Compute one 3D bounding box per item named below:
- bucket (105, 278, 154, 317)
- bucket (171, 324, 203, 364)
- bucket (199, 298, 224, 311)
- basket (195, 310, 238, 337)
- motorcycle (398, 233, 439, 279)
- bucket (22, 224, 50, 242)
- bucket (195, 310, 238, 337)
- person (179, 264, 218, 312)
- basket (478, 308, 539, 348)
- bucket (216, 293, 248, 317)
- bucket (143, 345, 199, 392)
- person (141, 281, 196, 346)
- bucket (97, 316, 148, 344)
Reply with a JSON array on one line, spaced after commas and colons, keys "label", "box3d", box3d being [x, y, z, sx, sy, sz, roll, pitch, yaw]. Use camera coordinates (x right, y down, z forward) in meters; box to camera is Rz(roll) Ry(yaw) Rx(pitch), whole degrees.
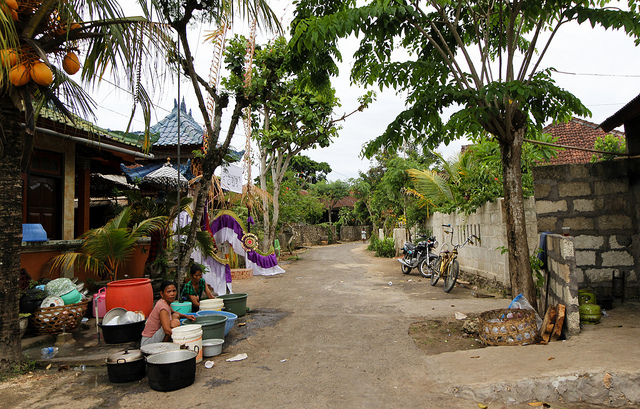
[{"label": "bucket", "box3d": [-3.975, 1.889, 9.329, 0.790, 0.809, 0.785, -2, -8, 0]}, {"label": "bucket", "box3d": [-2.334, 2.420, 8.046, 0.614, 0.597, 0.620, -3, 0, 0]}, {"label": "bucket", "box3d": [-2.306, 2.136, 9.507, 0.421, 0.258, 0.354, -2, 3, 16]}, {"label": "basket", "box3d": [-2.103, 2.322, 9.124, 0.611, 0.237, 0.618, -1, -1, 19]}, {"label": "motorcycle", "box3d": [3.506, 1.773, 16.177, 0.950, 1.596, 2.583, 15, -7, -16]}, {"label": "bucket", "box3d": [-6.562, 0.651, 10.247, 0.196, 0.421, 0.539, -2, 3, 12]}, {"label": "bucket", "box3d": [-2.063, 2.362, 9.124, 0.614, 0.240, 0.613, 0, 1, 0]}, {"label": "person", "box3d": [-2.609, 1.900, 9.825, 0.888, 1.075, 0.858, 10, 11, 41]}, {"label": "basket", "box3d": [3.516, 2.304, 8.385, 1.013, 0.589, 0.719, -2, 3, 20]}, {"label": "bucket", "box3d": [-1.948, 2.333, 10.416, 0.568, 0.352, 0.563, -3, -12, -1]}, {"label": "bucket", "box3d": [-2.501, 2.752, 7.607, 0.756, 0.539, 0.804, -2, 0, 0]}, {"label": "person", "box3d": [-2.910, 2.004, 8.420, 0.802, 1.073, 0.642, -2, 4, 11]}, {"label": "bucket", "box3d": [-3.795, 2.455, 8.607, 0.842, 0.447, 0.224, -4, 4, -16]}]
